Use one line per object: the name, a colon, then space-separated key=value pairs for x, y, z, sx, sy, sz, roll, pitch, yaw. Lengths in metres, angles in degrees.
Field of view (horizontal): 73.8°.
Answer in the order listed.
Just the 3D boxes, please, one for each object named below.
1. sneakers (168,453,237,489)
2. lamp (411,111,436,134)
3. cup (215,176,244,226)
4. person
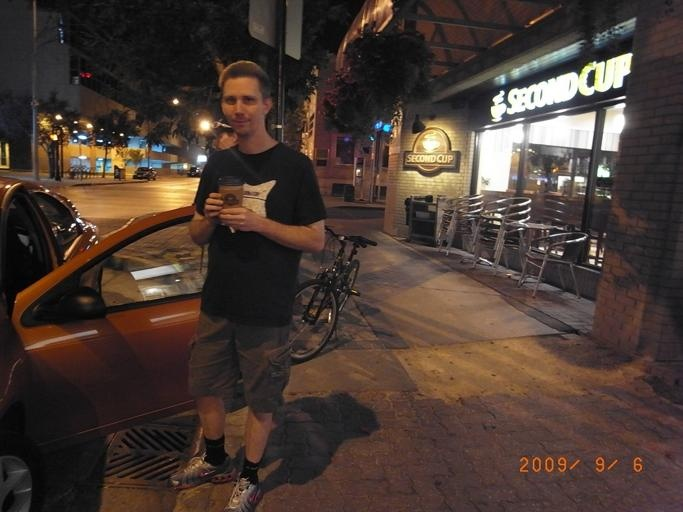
sneakers: x=-0.930 y=1.471 z=3.185 sx=0.528 sy=0.201 sz=0.180 roll=4 pitch=-4 yaw=-16
lamp: x=2.639 y=-4.155 z=14.574 sx=0.711 sy=0.625 sz=0.284 roll=6 pitch=13 yaw=14
cup: x=-0.593 y=-0.340 z=2.479 sx=0.186 sy=0.209 sz=0.157 roll=-1 pitch=9 yaw=-6
person: x=-0.526 y=0.249 z=2.800 sx=0.817 sy=2.742 sz=0.507 roll=2 pitch=13 yaw=-4
